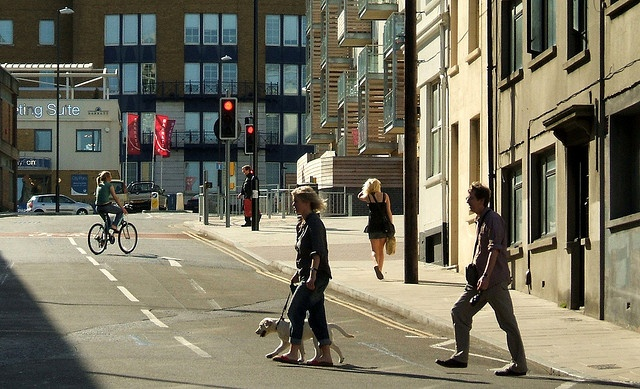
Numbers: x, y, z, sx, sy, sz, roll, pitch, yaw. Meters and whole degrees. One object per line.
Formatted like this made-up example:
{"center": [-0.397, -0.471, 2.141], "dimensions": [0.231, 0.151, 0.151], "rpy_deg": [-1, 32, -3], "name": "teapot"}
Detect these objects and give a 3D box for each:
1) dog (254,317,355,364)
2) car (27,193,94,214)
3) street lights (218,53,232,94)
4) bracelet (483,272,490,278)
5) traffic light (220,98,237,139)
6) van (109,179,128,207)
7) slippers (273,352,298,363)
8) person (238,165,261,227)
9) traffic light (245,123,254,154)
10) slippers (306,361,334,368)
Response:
{"center": [-0.370, 2.988, 23.549], "dimensions": [1.936, 0.836, 0.468], "rpy_deg": [0, 9, 12], "name": "dog"}
{"center": [-14.599, 0.523, 64.185], "dimensions": [3.593, 1.043, 2.672], "rpy_deg": [-1, 1, -12], "name": "car"}
{"center": [-6.987, -9.041, 85.253], "dimensions": [0.884, 2.964, 0.993], "rpy_deg": [-1, 1, -17], "name": "street lights"}
{"center": [3.378, 1.648, 23.180], "dimensions": [0.048, 0.126, 0.101], "rpy_deg": [21, 14, -15], "name": "bracelet"}
{"center": [-3.393, -2.831, 42.092], "dimensions": [0.636, 1.527, 0.798], "rpy_deg": [-1, 1, -6], "name": "traffic light"}
{"center": [-8.928, -0.069, 50.655], "dimensions": [1.309, 1.124, 2.139], "rpy_deg": [-1, 5, -3], "name": "van"}
{"center": [-0.680, 3.339, 23.381], "dimensions": [0.431, 0.159, 0.219], "rpy_deg": [5, -13, 5], "name": "slippers"}
{"center": [-2.643, 0.042, 44.007], "dimensions": [0.845, 2.372, 0.686], "rpy_deg": [0, 0, -5], "name": "person"}
{"center": [-2.714, -2.201, 44.212], "dimensions": [0.363, 1.137, 1.059], "rpy_deg": [0, 1, -3], "name": "traffic light"}
{"center": [-0.021, 3.471, 23.300], "dimensions": [0.477, 0.105, 0.167], "rpy_deg": [5, -7, -2], "name": "slippers"}
